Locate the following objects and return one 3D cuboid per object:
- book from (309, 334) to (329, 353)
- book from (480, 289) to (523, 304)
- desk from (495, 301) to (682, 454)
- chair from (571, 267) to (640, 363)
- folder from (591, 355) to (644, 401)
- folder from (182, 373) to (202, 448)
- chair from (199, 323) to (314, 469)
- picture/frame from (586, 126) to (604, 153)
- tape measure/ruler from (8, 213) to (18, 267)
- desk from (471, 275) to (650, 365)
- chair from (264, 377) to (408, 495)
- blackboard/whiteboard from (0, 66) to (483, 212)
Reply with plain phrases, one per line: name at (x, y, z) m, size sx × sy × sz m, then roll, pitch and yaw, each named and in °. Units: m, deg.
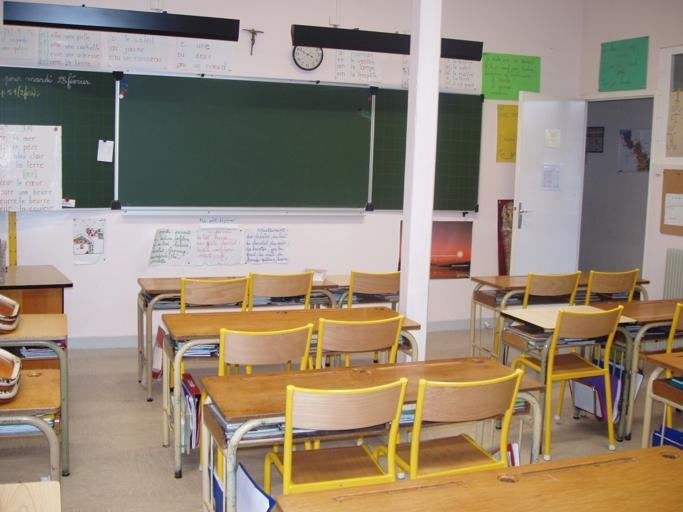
book at (-0.167, 0.528, 3.805) m, size 0.117 × 0.116 × 0.029 m, roll -1°, pitch 0°, yaw 27°
book at (1.328, 0.348, 5.324) m, size 0.228 × 0.091 × 0.175 m, roll -1°, pitch 2°, yaw -25°
desk at (1.585, 0.878, 4.378) m, size 1.363 × 0.691 × 0.851 m, roll -3°, pitch 6°, yaw -33°
chair at (2.263, 0.345, 5.393) m, size 0.469 × 0.491 × 0.314 m, roll -1°, pitch 15°, yaw -5°
folder at (1.867, 0.805, 4.169) m, size 0.062 × 0.258 × 0.262 m, roll -4°, pitch 14°, yaw -24°
folder at (-0.826, 0.882, 3.512) m, size 0.097 × 0.329 × 0.238 m, roll -1°, pitch 5°, yaw -18°
chair at (-0.600, 0.635, 3.672) m, size 0.582 × 1.058 × 0.676 m, roll -2°, pitch 13°, yaw -20°
picture/frame at (3.322, -1.539, 8.323) m, size 0.025 × 0.373 × 0.317 m, roll -1°, pitch 8°, yaw -29°
tape measure/ruler at (-2.965, -0.160, 5.725) m, size 0.084 × 0.487 × 0.152 m, roll -3°, pitch 12°, yaw -18°
desk at (1.624, 0.459, 4.641) m, size 0.760 × 0.424 × 0.314 m, roll -2°, pitch 6°, yaw -13°
chair at (0.007, 0.769, 2.874) m, size 0.533 × 0.532 × 0.391 m, roll 0°, pitch 11°, yaw -3°
blackboard/whiteboard at (-0.878, -1.104, 6.393) m, size 4.503 × 1.356 × 0.487 m, roll -2°, pitch 11°, yaw -13°
